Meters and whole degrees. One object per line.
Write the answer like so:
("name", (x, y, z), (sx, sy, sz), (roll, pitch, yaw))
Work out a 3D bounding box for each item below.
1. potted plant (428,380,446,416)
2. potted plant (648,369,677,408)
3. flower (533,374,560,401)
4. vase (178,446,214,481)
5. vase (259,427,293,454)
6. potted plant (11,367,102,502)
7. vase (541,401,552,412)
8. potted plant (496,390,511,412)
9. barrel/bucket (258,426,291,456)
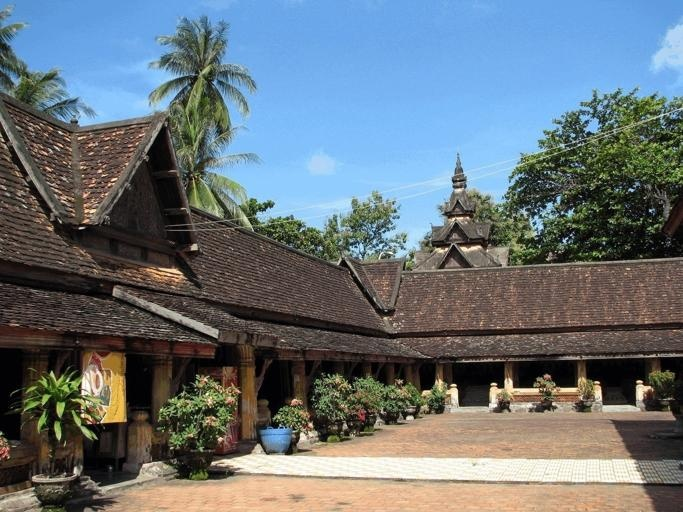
("potted plant", (4.683, 7.157, 31.727), (1.228, 1.563, 1.278), (-2, -3, 10))
("potted plant", (14.475, 5.876, 28.521), (0.746, 1.513, 1.927), (-3, -14, 4))
("flower", (9.860, 6.306, 30.438), (1.245, 1.329, 1.191), (0, -23, -2))
("vase", (-3.393, 4.731, 14.387), (0.832, 0.571, 0.799), (2, -17, -10))
("vase", (-1.819, 4.970, 17.062), (0.804, 0.535, 0.724), (1, -29, -5))
("potted plant", (-5.248, 3.257, 11.662), (1.422, 2.411, 1.781), (3, -15, -20))
("vase", (9.787, 7.079, 30.031), (0.524, 0.466, 0.281), (-6, -14, 15))
("potted plant", (7.831, 7.013, 30.579), (0.696, 0.983, 0.558), (-5, -14, 11))
("barrel/bucket", (-1.831, 4.951, 17.055), (0.829, 0.548, 0.716), (0, -31, -4))
